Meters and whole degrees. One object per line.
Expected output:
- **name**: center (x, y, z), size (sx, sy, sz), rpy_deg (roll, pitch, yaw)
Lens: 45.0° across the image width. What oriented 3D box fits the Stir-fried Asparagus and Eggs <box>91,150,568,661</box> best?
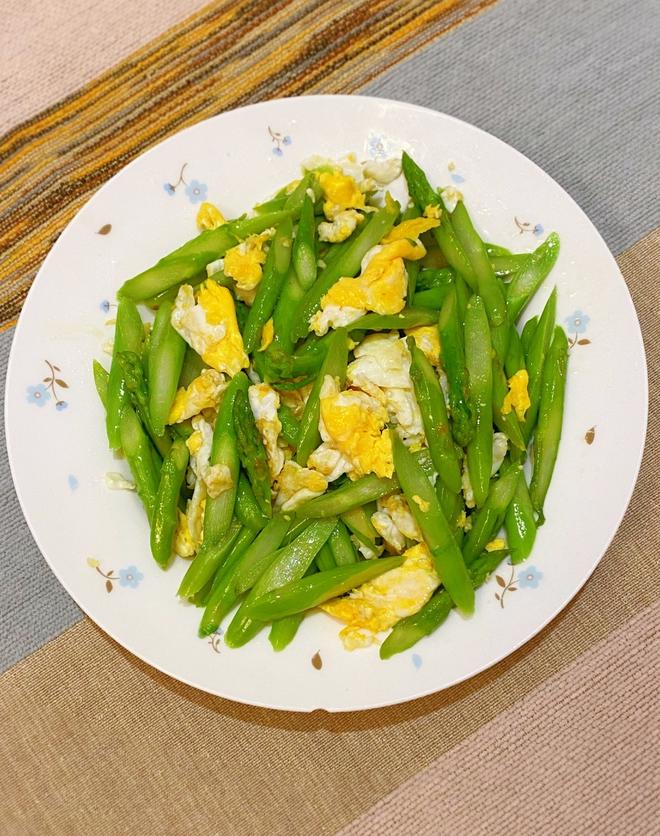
- **Stir-fried Asparagus and Eggs**: center (0.034, -0.021, 1.271), size (0.777, 0.150, 0.789), rpy_deg (-14, 83, -1)
